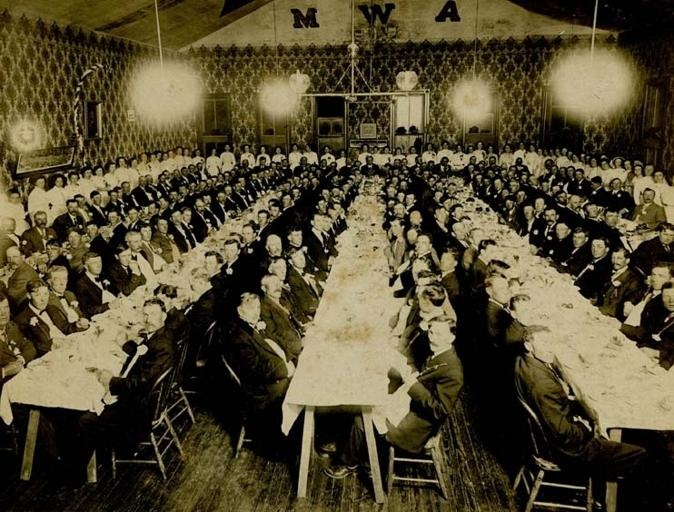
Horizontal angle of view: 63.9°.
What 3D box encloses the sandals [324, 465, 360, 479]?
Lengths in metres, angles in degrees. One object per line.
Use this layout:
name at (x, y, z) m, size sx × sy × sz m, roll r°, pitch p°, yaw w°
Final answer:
sandals at (0.028, 2.182, 5.476) m, size 0.298 × 0.141 × 0.136 m, roll 4°, pitch 21°, yaw -6°
